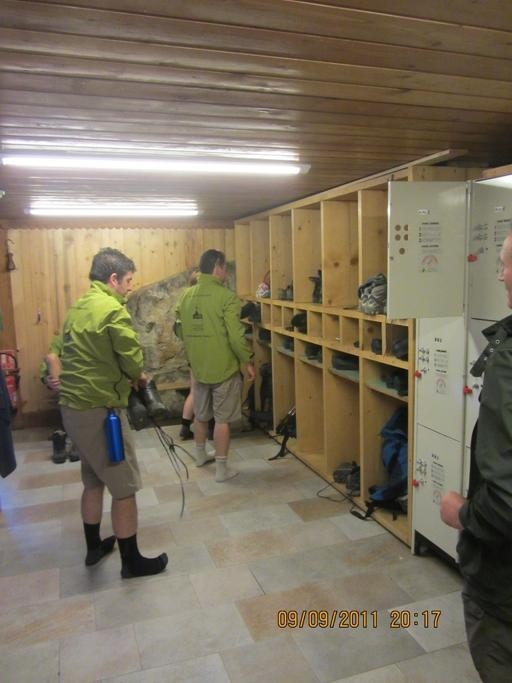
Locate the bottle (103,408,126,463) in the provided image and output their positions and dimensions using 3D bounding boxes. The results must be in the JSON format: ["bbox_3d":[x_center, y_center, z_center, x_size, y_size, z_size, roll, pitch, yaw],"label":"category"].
[{"bbox_3d":[-0.748,0.515,2.737,0.102,0.295,0.122,-6,8,-29],"label":"bottle"}]

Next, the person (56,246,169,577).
[{"bbox_3d":[-0.824,0.421,2.911,0.524,1.895,0.523,-5,7,-21],"label":"person"}]

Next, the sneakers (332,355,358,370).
[{"bbox_3d":[0.698,0.164,4.053,0.158,0.055,0.119,4,9,24],"label":"sneakers"}]

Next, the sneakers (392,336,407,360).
[{"bbox_3d":[0.880,0.041,3.169,0.123,0.116,0.046,-1,27,16],"label":"sneakers"}]

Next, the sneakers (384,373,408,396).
[{"bbox_3d":[0.892,0.279,3.281,0.103,0.054,0.148,6,13,43],"label":"sneakers"}]

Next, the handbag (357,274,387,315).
[{"bbox_3d":[0.756,-0.303,3.377,0.146,0.138,0.306,-9,24,18],"label":"handbag"}]
